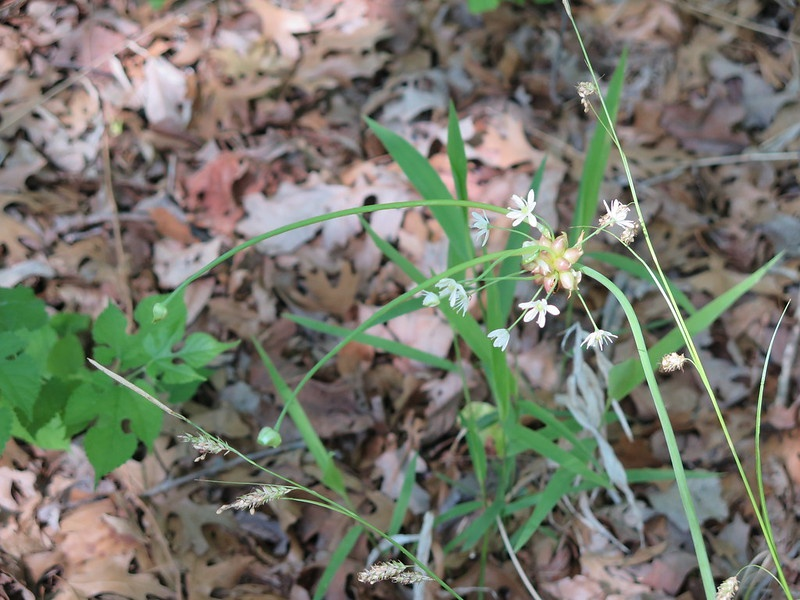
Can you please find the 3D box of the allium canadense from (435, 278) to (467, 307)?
[{"bbox_3d":[0.076,-0.010,1.152,0.017,0.043,0.043,-25,81,-26],"label":"allium canadense"}]

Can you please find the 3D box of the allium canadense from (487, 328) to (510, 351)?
[{"bbox_3d":[0.152,0.067,1.192,0.017,0.044,0.039,-20,96,35],"label":"allium canadense"}]

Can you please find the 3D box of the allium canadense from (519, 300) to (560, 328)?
[{"bbox_3d":[0.247,0.027,1.368,0.041,0.013,0.044,34,110,-7],"label":"allium canadense"}]

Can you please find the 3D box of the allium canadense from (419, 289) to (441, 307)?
[{"bbox_3d":[0.043,-0.003,1.166,0.011,0.030,0.024,-26,84,16],"label":"allium canadense"}]

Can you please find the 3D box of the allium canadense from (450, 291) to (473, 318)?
[{"bbox_3d":[0.096,0.008,1.229,0.031,0.023,0.031,-63,35,15],"label":"allium canadense"}]
